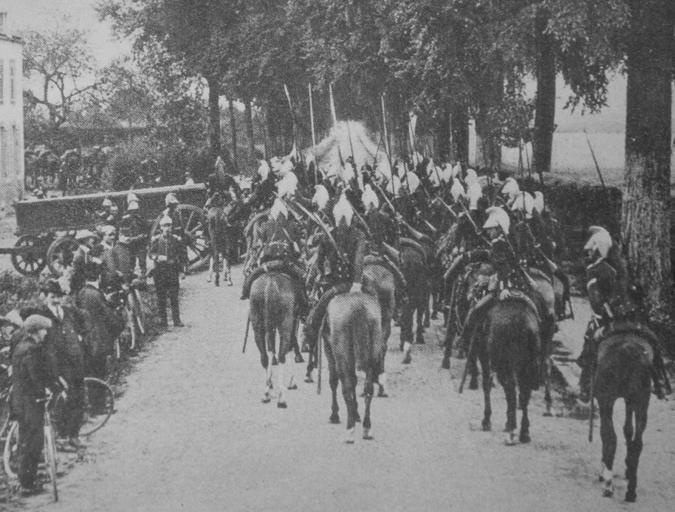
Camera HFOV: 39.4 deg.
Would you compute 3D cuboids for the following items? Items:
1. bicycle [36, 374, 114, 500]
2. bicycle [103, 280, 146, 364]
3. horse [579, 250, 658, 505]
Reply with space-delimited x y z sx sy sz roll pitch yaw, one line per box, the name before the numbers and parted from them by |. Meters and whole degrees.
bicycle | -2.821 1.765 9.523 0.181 0.807 1.135 -13 0 -44
bicycle | -2.241 0.612 9.988 0.306 0.524 0.787 -2 8 1
horse | 2.835 1.222 9.451 0.727 2.568 0.779 0 4 9
